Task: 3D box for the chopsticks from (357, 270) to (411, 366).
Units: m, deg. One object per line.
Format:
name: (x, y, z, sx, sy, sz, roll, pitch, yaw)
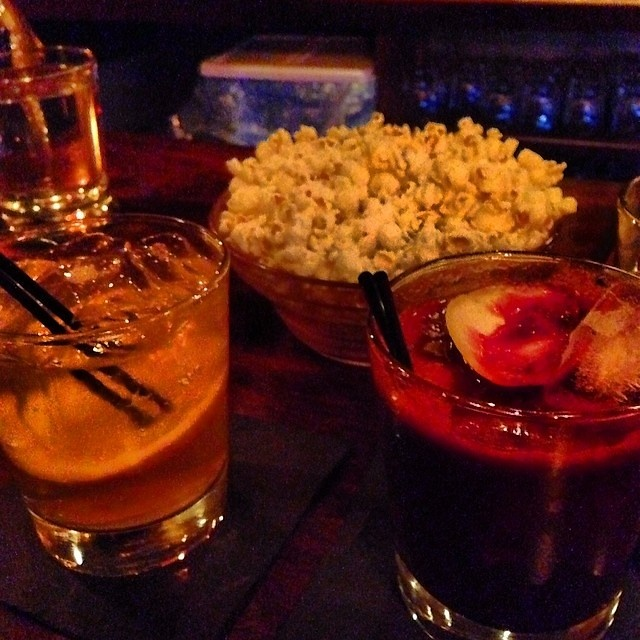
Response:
chopsticks: (0.044, -0.008, 0.559, 0.023, 0.015, 0.084, -28, 50, 16)
